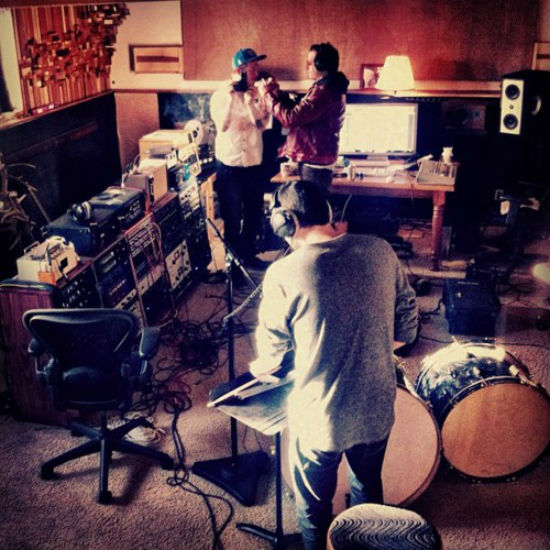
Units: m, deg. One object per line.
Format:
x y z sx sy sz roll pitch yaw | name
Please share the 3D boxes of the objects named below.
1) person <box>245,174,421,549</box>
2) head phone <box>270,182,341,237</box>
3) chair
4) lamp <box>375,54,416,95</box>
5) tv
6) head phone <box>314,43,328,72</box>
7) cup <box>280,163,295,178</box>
0.180 0.352 1.828 0.537 1.285 0.384 4 20 12 | person
0.086 -0.194 1.758 0.152 0.190 0.178 2 55 -26 | head phone
-0.896 0.545 2.837 0.676 1.040 0.689 5 18 13 | chair
1.099 -1.833 4.940 0.315 0.327 0.329 14 27 34 | lamp
0.964 -1.313 5.013 0.583 0.483 0.170 2 21 4 | tv
0.322 -1.515 3.751 0.108 0.147 0.150 -19 19 -25 | head phone
0.111 -0.932 4.868 0.108 0.139 0.126 1 2 1 | cup
